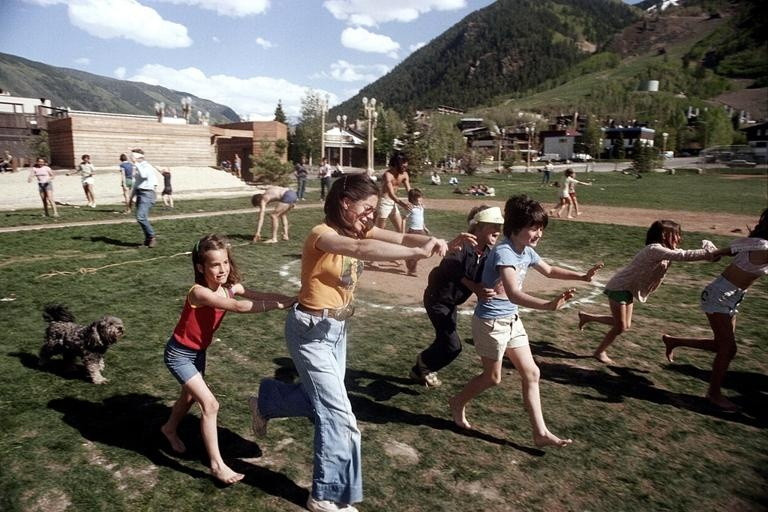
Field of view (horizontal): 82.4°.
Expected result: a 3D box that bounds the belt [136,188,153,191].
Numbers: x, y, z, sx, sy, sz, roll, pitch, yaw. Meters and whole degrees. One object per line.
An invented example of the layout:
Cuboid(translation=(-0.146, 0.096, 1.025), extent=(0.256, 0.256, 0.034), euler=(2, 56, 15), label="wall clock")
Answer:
Cuboid(translation=(-6.120, -1.712, 11.247), extent=(0.294, 0.059, 0.084), euler=(-5, 13, -32), label="belt")

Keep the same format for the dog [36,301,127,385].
Cuboid(translation=(-3.747, 1.017, 5.426), extent=(1.686, 0.721, 0.476), euler=(4, 6, 27), label="dog")

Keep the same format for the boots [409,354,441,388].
Cuboid(translation=(0.511, 1.509, 5.643), extent=(0.492, 0.257, 0.198), euler=(32, -34, -19), label="boots")
